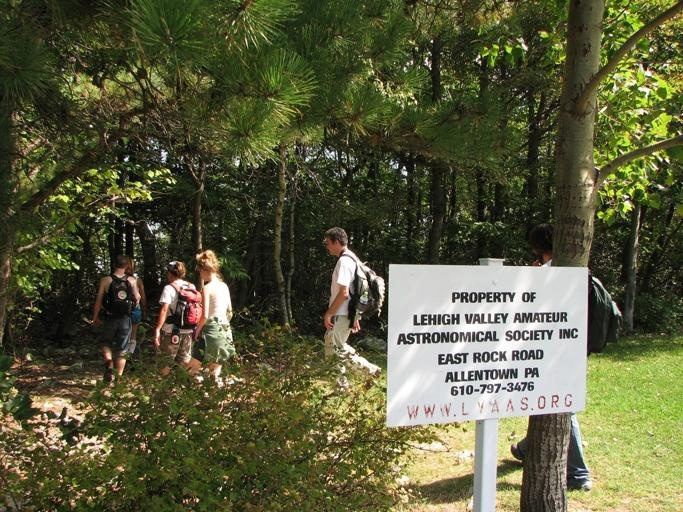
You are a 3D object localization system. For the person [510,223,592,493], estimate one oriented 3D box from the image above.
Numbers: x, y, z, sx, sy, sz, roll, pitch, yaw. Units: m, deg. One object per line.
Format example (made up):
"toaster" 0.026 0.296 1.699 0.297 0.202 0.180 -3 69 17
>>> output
"person" 1.794 0.851 5.121 0.645 1.478 1.563 1 1 22

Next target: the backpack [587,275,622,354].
"backpack" 2.001 0.446 4.617 0.230 0.424 0.541 1 1 24

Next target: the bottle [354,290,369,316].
"bottle" 0.246 0.532 7.093 0.097 0.266 0.137 2 1 38

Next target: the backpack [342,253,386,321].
"backpack" 0.289 0.355 7.392 0.442 0.785 0.568 -3 -16 21

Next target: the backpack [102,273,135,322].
"backpack" -3.020 0.542 8.283 0.416 0.592 0.318 0 19 -36

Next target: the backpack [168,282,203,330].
"backpack" -1.920 0.624 7.544 0.329 0.539 0.527 4 5 -37
